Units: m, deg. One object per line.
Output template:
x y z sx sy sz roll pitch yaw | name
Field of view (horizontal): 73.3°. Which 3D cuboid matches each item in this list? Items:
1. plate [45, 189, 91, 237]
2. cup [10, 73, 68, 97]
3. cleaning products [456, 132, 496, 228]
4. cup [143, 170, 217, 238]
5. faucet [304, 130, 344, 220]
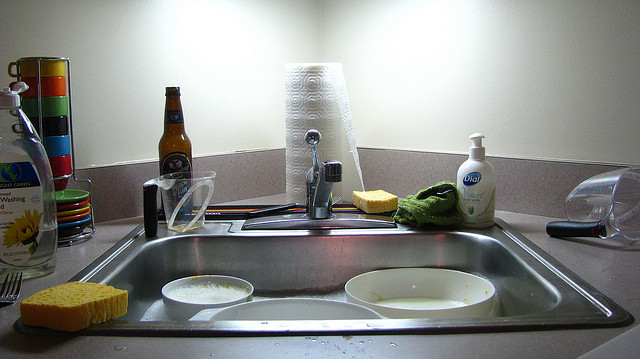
-0.666 0.093 1.171 0.126 0.080 0.122 0 3 -3 | plate
-0.755 -0.250 1.149 0.095 0.037 0.056 -3 8 -21 | cup
0.476 -0.004 1.267 0.097 0.268 0.174 10 19 39 | cleaning products
-0.398 0.066 1.245 0.233 0.155 0.151 -7 11 -36 | cup
0.004 -0.020 1.330 0.101 0.259 0.248 -3 14 -2 | faucet
